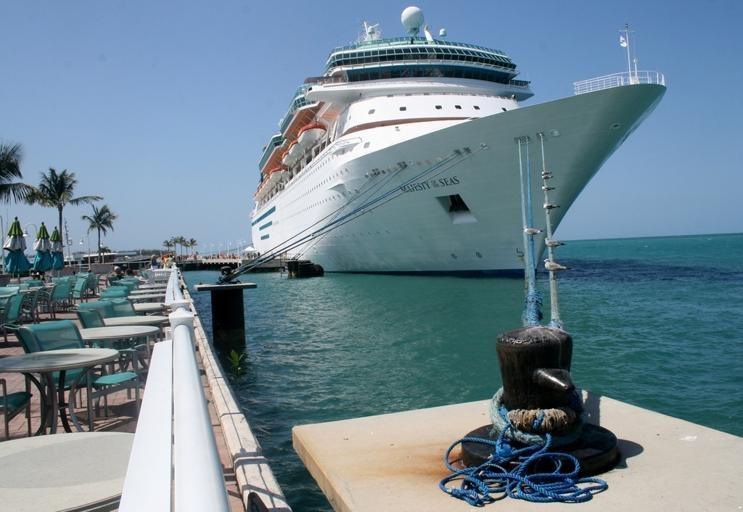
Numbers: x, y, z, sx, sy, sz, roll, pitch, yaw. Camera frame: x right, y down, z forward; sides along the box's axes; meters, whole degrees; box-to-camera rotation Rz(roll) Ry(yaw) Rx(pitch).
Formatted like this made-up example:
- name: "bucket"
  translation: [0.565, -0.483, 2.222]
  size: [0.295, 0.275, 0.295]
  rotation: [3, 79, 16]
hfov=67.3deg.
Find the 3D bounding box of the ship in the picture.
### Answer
- name: "ship"
  translation: [1.891, -3.928, 25.628]
  size: [7.197, 8.387, 25.226]
  rotation: [0, -2, -25]
